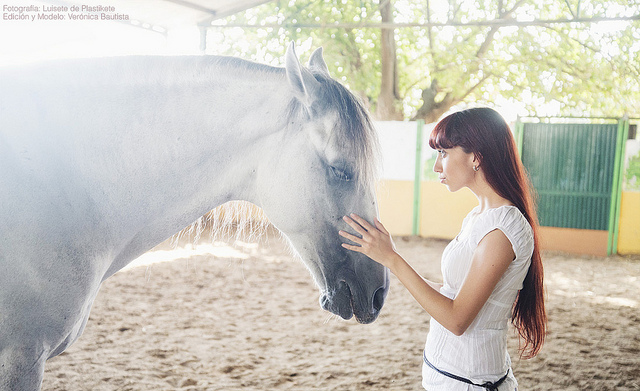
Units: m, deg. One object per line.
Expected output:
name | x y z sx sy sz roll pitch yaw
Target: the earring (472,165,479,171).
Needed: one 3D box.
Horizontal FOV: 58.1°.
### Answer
earring | 1.342 -0.246 4.994 0.056 0.043 0.019 -3 -8 -18
